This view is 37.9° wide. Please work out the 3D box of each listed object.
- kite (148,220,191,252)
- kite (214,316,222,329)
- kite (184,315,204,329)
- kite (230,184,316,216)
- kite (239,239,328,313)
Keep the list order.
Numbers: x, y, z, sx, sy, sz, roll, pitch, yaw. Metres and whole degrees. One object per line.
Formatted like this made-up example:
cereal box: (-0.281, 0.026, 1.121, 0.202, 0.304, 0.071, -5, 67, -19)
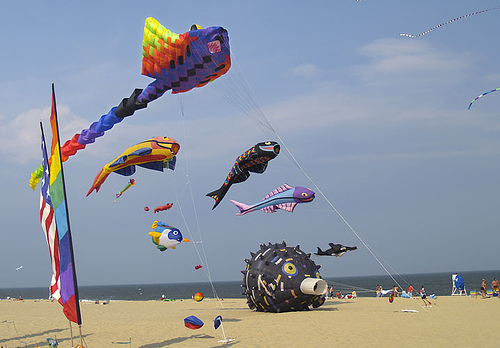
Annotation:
kite: (-4.502, 3.244, 38.590, 1.598, 1.435, 1.116, -10, -2, 5)
kite: (-1.524, 6.891, 34.134, 0.323, 0.544, 0.687, -10, -2, -4)
kite: (-2.672, 7.039, 34.559, 0.813, 0.233, 0.552, 19, 26, 13)
kite: (1.219, 1.442, 38.321, 4.537, 1.266, 0.733, -13, -3, 21)
kite: (1.858, 5.790, 40.248, 4.886, 3.824, 4.949, 3, 1, 6)
